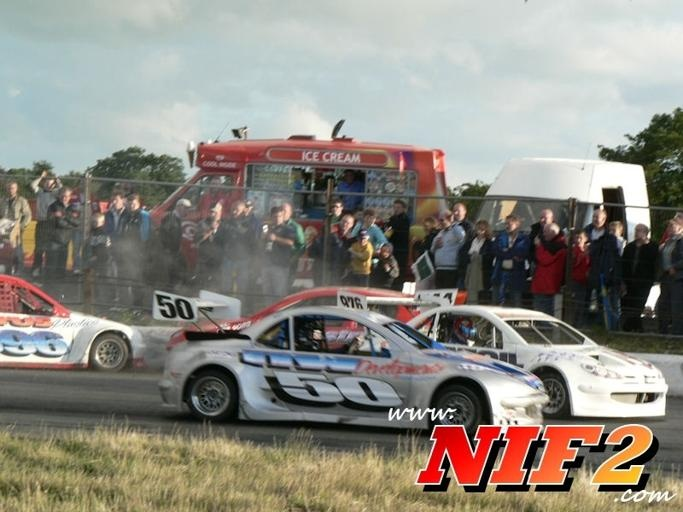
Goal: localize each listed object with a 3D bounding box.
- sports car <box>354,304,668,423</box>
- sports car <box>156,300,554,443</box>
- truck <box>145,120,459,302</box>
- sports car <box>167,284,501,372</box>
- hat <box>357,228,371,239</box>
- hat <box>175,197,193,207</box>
[{"bbox_3d":[2.807,1.415,14.899,3.201,1.042,1.683,2,0,28],"label":"sports car"},{"bbox_3d":[0.122,1.513,13.546,4.161,1.271,1.908,-1,-1,11],"label":"sports car"},{"bbox_3d":[-0.457,-1.317,19.539,6.133,3.357,2.404,3,0,6],"label":"truck"},{"bbox_3d":[-0.479,1.267,15.629,3.318,1.105,1.588,2,0,5],"label":"sports car"},{"bbox_3d":[0.379,-0.388,17.768,0.192,0.169,0.151,3,-2,31],"label":"hat"},{"bbox_3d":[-2.748,-0.929,18.386,0.208,0.172,0.164,24,11,33],"label":"hat"}]
